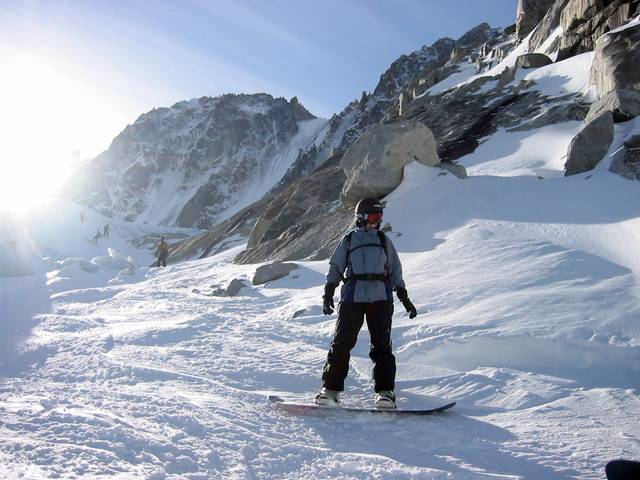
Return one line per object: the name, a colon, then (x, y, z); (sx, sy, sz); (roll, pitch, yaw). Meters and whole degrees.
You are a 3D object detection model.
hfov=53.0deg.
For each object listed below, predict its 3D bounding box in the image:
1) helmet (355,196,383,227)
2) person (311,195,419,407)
helmet: (0.798, -0.454, 10.862); (0.587, 0.527, 0.454); (-2, 7, -32)
person: (0.763, 1.199, 10.360); (1.523, 2.669, 1.151); (-3, 10, 6)
